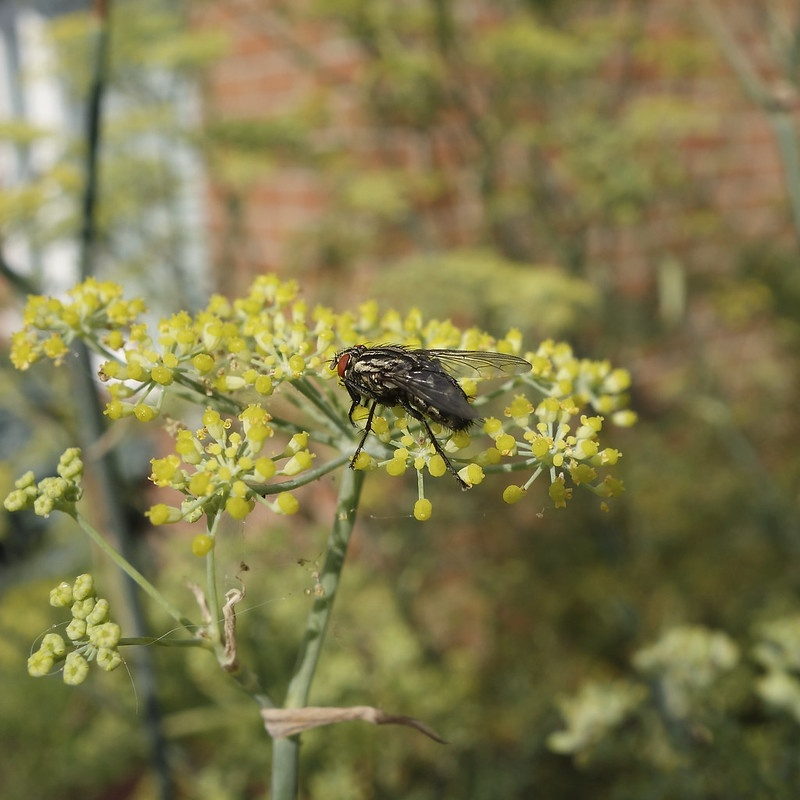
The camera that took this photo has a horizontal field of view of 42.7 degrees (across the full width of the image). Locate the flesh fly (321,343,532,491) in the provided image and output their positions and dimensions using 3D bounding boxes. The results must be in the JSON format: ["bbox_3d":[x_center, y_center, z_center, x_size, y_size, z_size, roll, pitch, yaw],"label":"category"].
[{"bbox_3d":[0.020,0.002,1.990,0.447,0.116,0.343,15,17,17],"label":"flesh fly"}]
